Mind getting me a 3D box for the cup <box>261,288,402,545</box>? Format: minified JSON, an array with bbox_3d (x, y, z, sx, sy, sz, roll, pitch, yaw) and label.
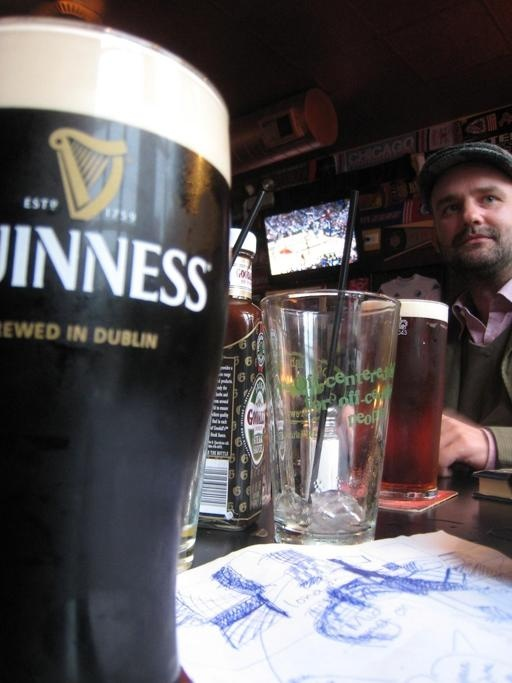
[{"bbox_3d":[0.064,0.080,0.599,0.156,0.255,0.151,1,3,0],"label":"cup"}]
